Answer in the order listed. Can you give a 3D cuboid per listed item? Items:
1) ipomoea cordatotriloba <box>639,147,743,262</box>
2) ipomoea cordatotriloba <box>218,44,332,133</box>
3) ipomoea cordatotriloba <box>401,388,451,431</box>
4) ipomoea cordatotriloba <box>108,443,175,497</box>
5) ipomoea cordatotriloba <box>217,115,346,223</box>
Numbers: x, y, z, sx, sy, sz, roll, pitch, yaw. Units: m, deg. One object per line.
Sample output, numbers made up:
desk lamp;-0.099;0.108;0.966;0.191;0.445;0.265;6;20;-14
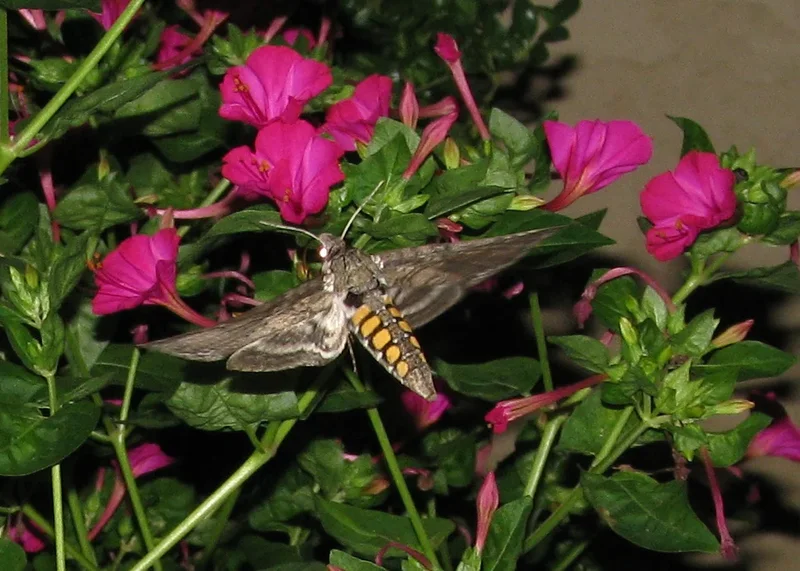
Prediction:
ipomoea cordatotriloba;0.530;-0.148;1.548;0.148;0.192;0.084;9;-19;46
ipomoea cordatotriloba;-0.257;-0.368;1.658;0.246;0.119;0.234;1;-11;-12
ipomoea cordatotriloba;0.059;0.291;1.940;0.115;0.042;0.134;20;21;25
ipomoea cordatotriloba;-0.580;0.430;1.962;0.112;0.097;0.186;17;-14;24
ipomoea cordatotriloba;-0.211;-0.175;1.593;0.207;0.197;0.102;34;-16;19
